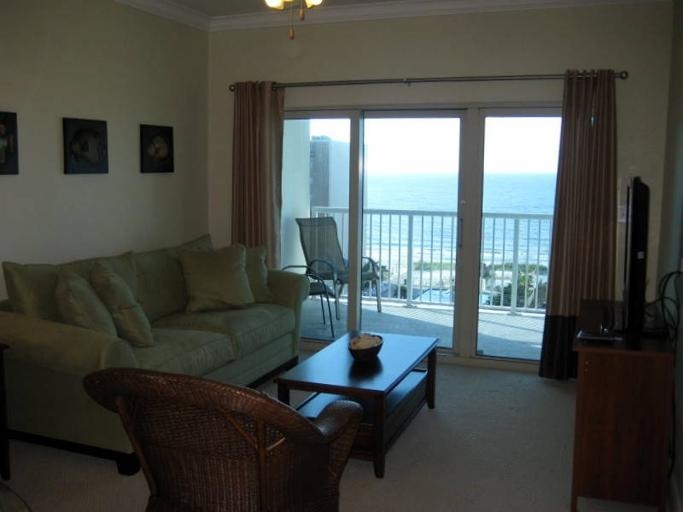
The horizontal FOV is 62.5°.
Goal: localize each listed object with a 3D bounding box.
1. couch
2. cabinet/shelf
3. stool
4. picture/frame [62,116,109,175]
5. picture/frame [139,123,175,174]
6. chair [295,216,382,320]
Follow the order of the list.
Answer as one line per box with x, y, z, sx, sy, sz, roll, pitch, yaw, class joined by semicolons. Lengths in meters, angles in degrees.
-1.204;0.569;3.375;0.566;0.714;1.391;1;5;19;couch
1.556;0.916;3.450;0.662;1.251;1.297;0;0;22;cabinet/shelf
-0.320;0.421;5.674;0.374;0.705;0.422;-5;9;-12;stool
-2.036;-0.873;4.422;0.047;0.491;0.468;3;5;24;picture/frame
-1.681;-0.976;5.064;0.031;0.478;0.450;2;6;25;picture/frame
-0.029;0.095;5.477;0.677;0.947;0.687;2;8;39;chair
